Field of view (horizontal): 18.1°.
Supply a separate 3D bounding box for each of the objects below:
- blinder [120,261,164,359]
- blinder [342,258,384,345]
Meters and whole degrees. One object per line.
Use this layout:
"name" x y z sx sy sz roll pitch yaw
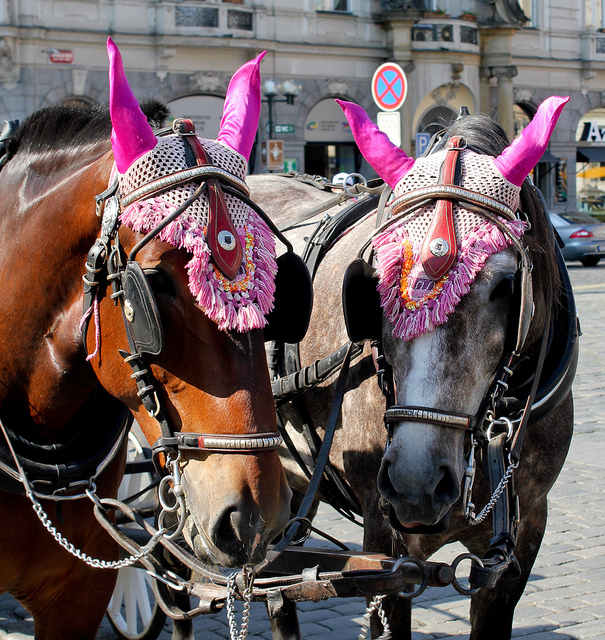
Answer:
"blinder" -0.724 -0.047 8.698 0.257 0.439 0.078 6 11 39
"blinder" 0.306 -0.094 9.448 0.196 0.416 0.116 -1 9 0
